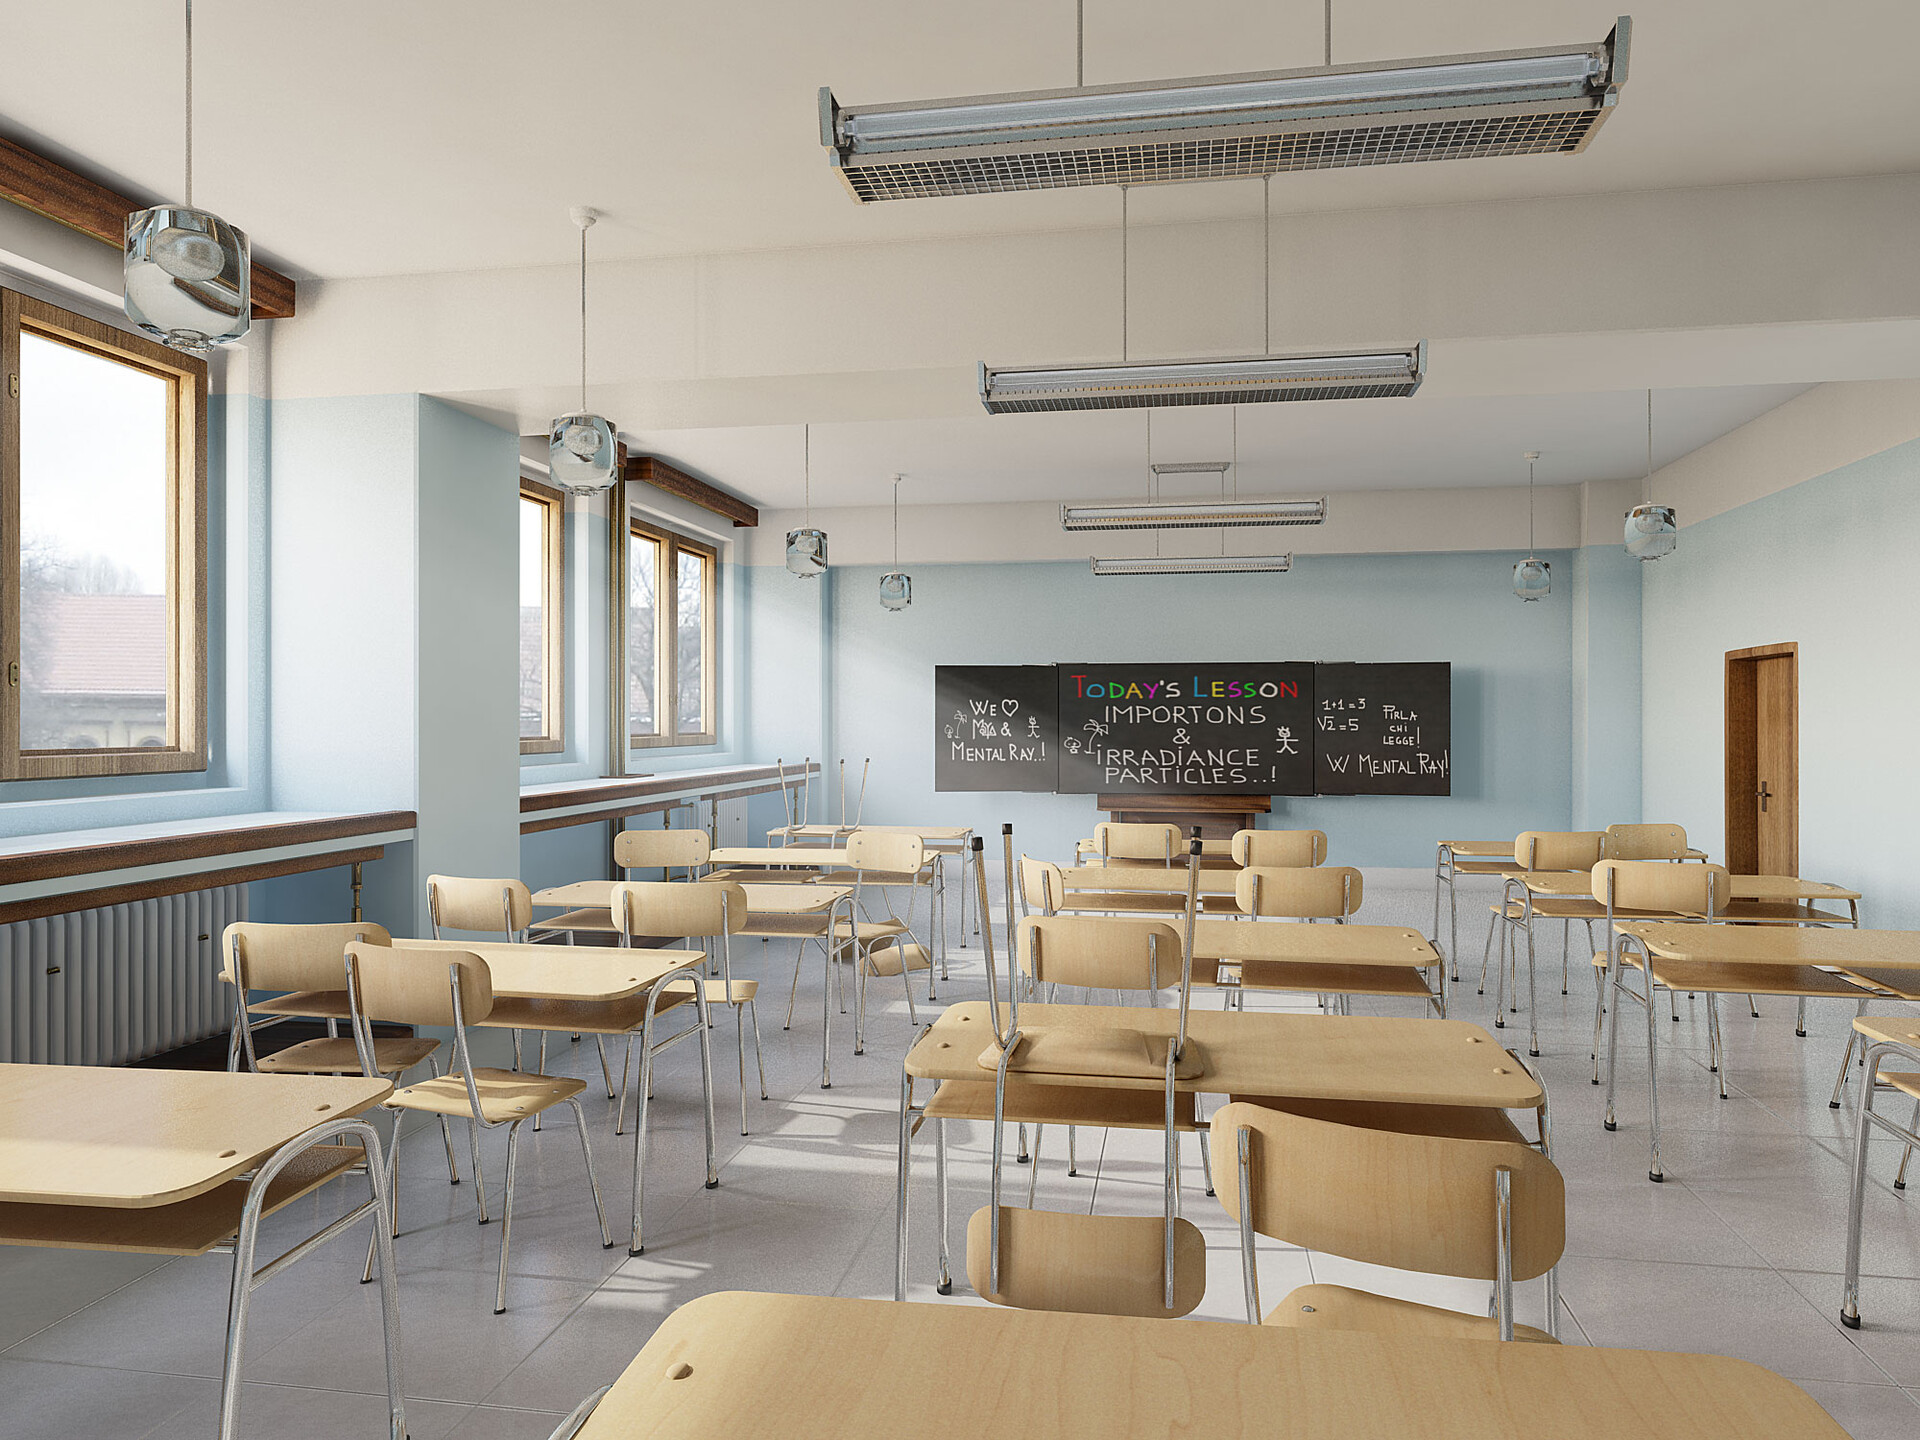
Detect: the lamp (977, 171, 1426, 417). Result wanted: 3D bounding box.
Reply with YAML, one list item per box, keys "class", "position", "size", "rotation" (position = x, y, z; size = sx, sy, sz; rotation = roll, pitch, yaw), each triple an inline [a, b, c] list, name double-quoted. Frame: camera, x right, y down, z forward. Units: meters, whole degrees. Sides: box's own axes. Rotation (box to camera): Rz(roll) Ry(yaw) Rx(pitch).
- class: "lamp"
  position: [0.802, -1.326, 4.722]
  size: [1.358, 0.474, 0.225]
  rotation: [1, 11, 11]

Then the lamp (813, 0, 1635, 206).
- class: "lamp"
  position: [0.594, -1.432, 3.448]
  size: [1.832, 0.166, 0.343]
  rotation: [-2, -2, 6]
